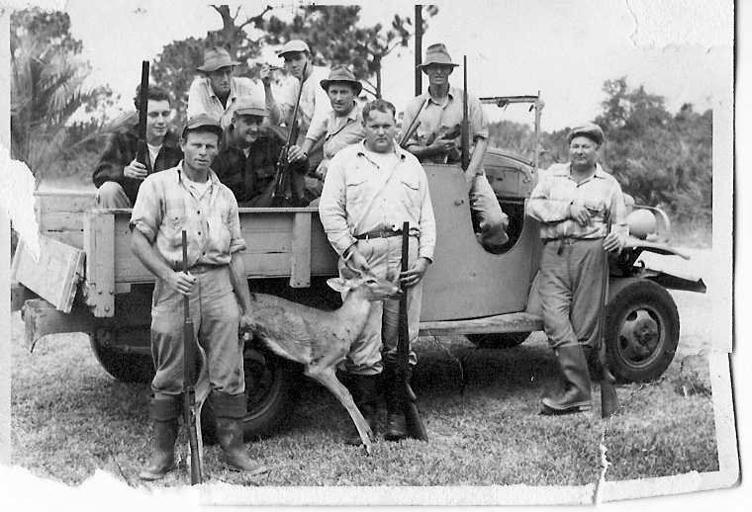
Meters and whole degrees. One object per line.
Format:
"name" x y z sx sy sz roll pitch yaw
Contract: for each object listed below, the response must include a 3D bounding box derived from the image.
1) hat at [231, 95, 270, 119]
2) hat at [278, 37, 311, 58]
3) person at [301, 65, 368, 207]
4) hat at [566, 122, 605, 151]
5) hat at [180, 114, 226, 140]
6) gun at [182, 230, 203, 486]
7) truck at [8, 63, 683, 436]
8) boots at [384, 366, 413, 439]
"hat" -1.265 -1.470 7.796 0.304 0.151 0.447 1 8 -21
"hat" -0.888 -2.177 8.296 0.371 0.168 0.201 5 9 28
"person" -0.503 -1.191 7.856 0.634 1.168 1.491 9 21 16
"hat" 2.083 -1.177 7.770 0.257 0.180 0.240 1 6 -31
"hat" -1.458 -1.089 6.582 0.275 0.195 0.356 -4 9 -23
"gun" -1.486 0.738 6.368 0.081 2.092 0.384 -2 1 -19
"truck" 0.256 0.415 8.853 5.690 2.525 3.320 -3 -9 -14
"boots" 0.190 1.343 7.105 0.159 0.729 0.254 2 -8 -19
